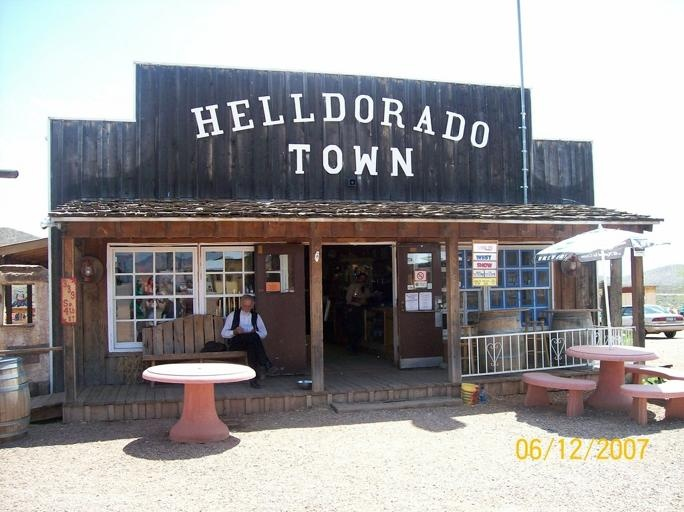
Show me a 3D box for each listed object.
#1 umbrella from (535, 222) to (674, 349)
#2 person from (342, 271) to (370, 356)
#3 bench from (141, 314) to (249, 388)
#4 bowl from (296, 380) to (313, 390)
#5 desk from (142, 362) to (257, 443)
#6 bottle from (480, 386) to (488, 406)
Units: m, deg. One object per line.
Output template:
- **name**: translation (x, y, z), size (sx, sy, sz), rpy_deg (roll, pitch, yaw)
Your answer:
- **umbrella**: translation (5.047, 0.572, 12.312), size (1.858, 2.103, 2.937), rpy_deg (-2, -1, 37)
- **person**: translation (0.343, 1.364, 15.692), size (0.529, 1.311, 0.749), rpy_deg (-2, -1, 1)
- **bench**: translation (-2.870, 1.730, 12.065), size (2.034, 1.182, 0.835), rpy_deg (-11, 2, 32)
- **bowl**: translation (-0.661, 2.221, 11.408), size (0.213, 0.104, 0.373), rpy_deg (-2, 0, -13)
- **desk**: translation (-2.079, 2.256, 9.597), size (1.147, 0.765, 1.197), rpy_deg (-1, -2, 11)
- **bottle**: translation (2.484, 2.415, 11.583), size (0.129, 0.239, 0.427), rpy_deg (-2, -1, 14)
